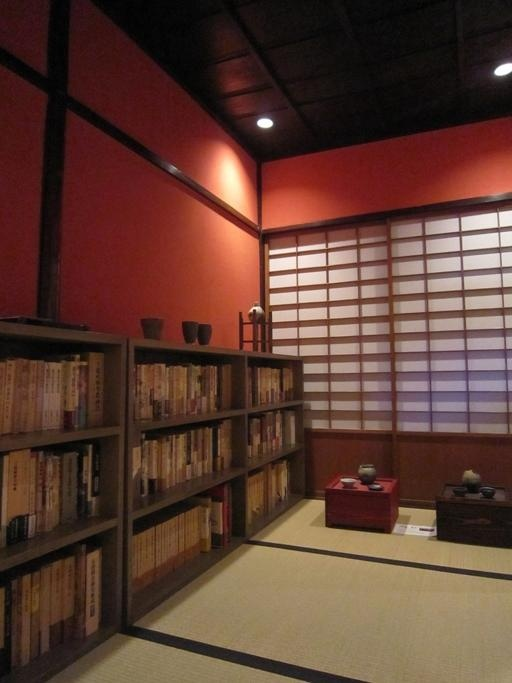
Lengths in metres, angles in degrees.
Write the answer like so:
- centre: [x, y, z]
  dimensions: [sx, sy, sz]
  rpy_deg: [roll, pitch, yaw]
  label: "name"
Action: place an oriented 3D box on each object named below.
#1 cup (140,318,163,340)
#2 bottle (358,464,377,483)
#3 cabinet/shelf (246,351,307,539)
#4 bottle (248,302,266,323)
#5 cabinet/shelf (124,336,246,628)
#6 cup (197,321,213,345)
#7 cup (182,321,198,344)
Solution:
- centre: [-0.461, -0.055, 2.297]
  dimensions: [0.084, 0.090, 0.097]
  rpy_deg: [0, -7, -2]
  label: "cup"
- centre: [0.686, 0.801, 3.192]
  dimensions: [0.093, 0.125, 0.104]
  rpy_deg: [1, -3, 20]
  label: "bottle"
- centre: [0.123, 0.707, 3.413]
  dimensions: [0.214, 0.978, 0.972]
  rpy_deg: [-2, -3, 14]
  label: "cabinet/shelf"
- centre: [0.005, -0.202, 3.648]
  dimensions: [0.113, 0.135, 0.125]
  rpy_deg: [-3, -1, -4]
  label: "bottle"
- centre: [-0.366, 0.573, 2.524]
  dimensions: [0.269, 1.076, 1.076]
  rpy_deg: [-3, -3, 25]
  label: "cabinet/shelf"
- centre: [-0.271, -0.037, 2.774]
  dimensions: [0.090, 0.161, 0.096]
  rpy_deg: [1, 1, 0]
  label: "cup"
- centre: [-0.314, -0.050, 2.665]
  dimensions: [0.090, 0.119, 0.098]
  rpy_deg: [0, 1, 0]
  label: "cup"
